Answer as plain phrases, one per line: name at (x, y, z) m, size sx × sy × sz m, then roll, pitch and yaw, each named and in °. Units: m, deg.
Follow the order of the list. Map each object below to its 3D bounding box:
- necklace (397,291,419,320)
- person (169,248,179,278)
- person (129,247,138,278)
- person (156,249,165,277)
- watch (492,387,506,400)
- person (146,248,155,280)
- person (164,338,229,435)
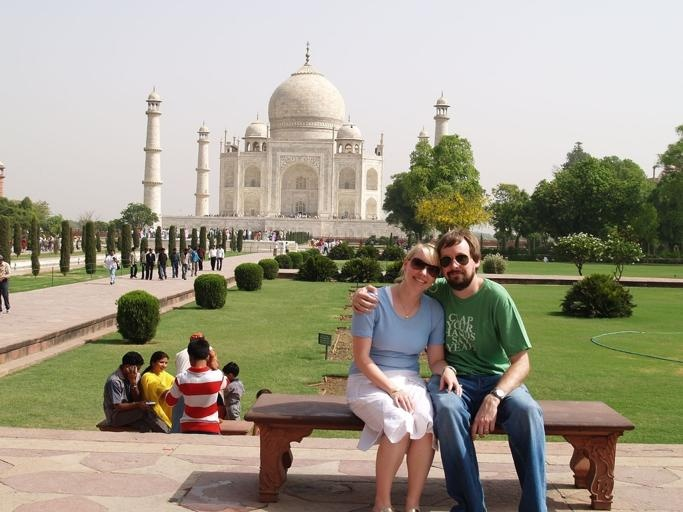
necklace at (0.389, 0.289, 4.278) m, size 0.154 × 0.182 × 0.104 m, roll 5°, pitch -6°, yaw -7°
person at (-4.557, 0.208, 19.911) m, size 0.199 × 0.725 × 1.128 m, roll 0°, pitch 0°, yaw -12°
person at (-5.585, 0.201, 19.508) m, size 0.186 × 0.740 × 1.142 m, roll 0°, pitch 0°, yaw -17°
person at (-4.625, 0.206, 18.755) m, size 0.217 × 0.773 × 0.796 m, roll 0°, pitch 1°, yaw -13°
watch at (0.886, 0.782, 4.089) m, size 0.083 × 0.070 × 0.057 m, roll 0°, pitch 1°, yaw -44°
person at (-5.016, 0.223, 18.994) m, size 0.188 × 0.740 × 0.891 m, roll 0°, pitch 1°, yaw -14°
person at (-1.011, 0.902, 5.023) m, size 0.376 × 0.693 × 0.292 m, roll 0°, pitch 1°, yaw -9°
